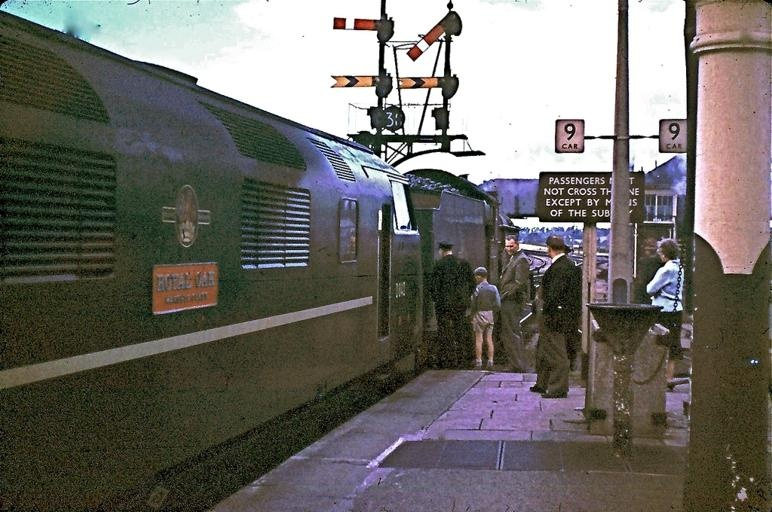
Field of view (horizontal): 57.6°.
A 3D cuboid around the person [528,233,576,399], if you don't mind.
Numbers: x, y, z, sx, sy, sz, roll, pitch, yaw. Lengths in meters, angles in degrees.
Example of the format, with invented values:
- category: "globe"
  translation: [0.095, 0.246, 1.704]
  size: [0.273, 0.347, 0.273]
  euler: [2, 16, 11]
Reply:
- category: "person"
  translation: [2.257, 0.833, 9.512]
  size: [0.639, 2.192, 0.717]
  euler: [1, -3, 14]

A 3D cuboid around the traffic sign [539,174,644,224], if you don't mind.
- category: "traffic sign"
  translation: [3.109, -0.852, 10.461]
  size: [1.302, 0.771, 0.135]
  euler: [0, -3, 10]

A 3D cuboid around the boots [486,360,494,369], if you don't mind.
- category: "boots"
  translation: [1.911, 2.010, 12.990]
  size: [0.122, 0.128, 0.123]
  euler: [0, 1, -6]
